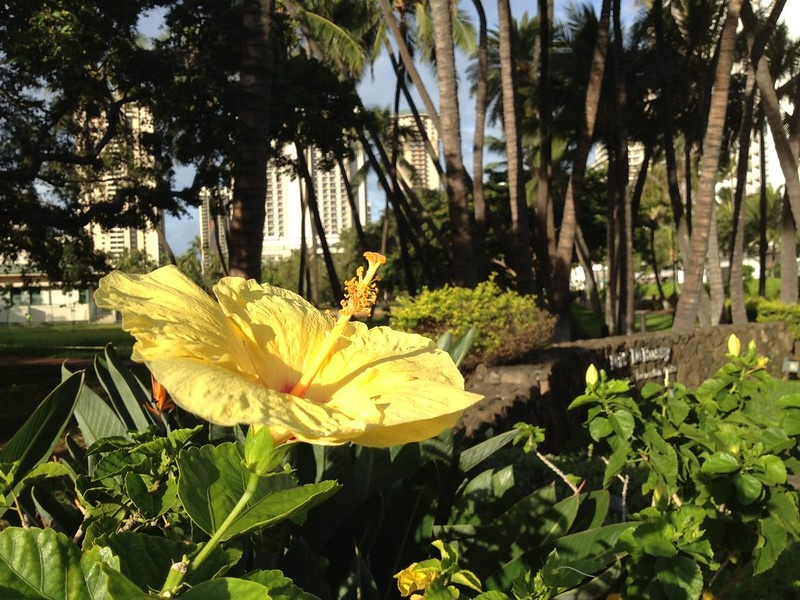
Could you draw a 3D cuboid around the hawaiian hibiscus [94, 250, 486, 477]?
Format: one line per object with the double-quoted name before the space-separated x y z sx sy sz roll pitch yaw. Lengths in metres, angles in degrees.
"hawaiian hibiscus" -0.263 0.114 1.692 0.888 0.518 0.733 -5 1 -28
